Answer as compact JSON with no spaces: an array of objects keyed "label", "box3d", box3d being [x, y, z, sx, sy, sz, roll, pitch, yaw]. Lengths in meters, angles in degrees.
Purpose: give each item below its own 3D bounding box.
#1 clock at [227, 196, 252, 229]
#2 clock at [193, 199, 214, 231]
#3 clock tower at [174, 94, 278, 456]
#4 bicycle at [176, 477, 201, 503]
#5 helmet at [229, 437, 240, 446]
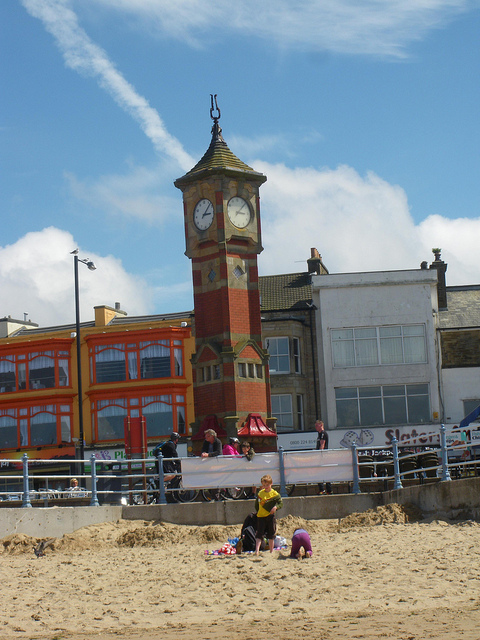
[{"label":"clock","box3d":[0.013,-3.092,47.359,0.159,0.927,1.022,-10,-11,36]},{"label":"clock","box3d":[-1.049,-2.998,47.382,0.101,0.943,1.035,1,-10,-31]},{"label":"clock tower","box3d":[-0.472,-1.148,47.719,3.108,9.843,2.971,-3,-2,5]},{"label":"bicycle","box3d":[-1.029,3.381,33.015,0.442,0.495,0.551,-3,-9,-6]},{"label":"helmet","box3d":[-0.099,2.486,33.768,0.218,0.122,0.156,-5,-2,-9]}]
